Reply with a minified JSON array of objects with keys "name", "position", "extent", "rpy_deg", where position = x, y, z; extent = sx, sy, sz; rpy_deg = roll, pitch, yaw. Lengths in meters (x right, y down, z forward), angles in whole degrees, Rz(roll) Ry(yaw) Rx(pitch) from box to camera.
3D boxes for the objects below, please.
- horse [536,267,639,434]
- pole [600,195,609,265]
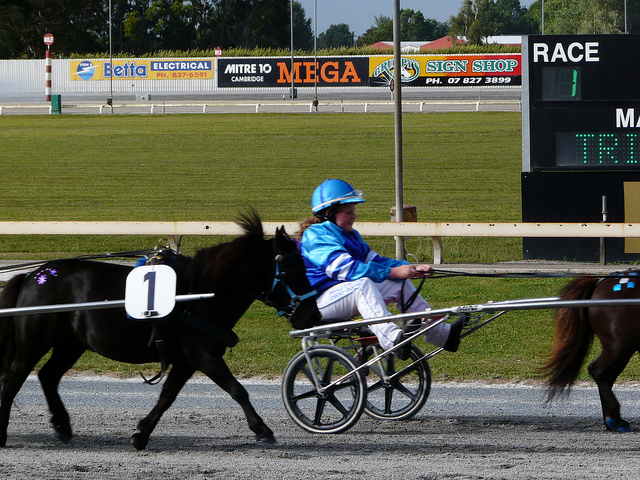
[{"name":"horse","position":[4.739,1.885,28.168],"extent":[1.670,2.686,0.881],"rpy_deg":[2,10,26]},{"name":"pole","position":[5.807,-0.210,33.508],"extent":[0.200,1.368,0.571],"rpy_deg":[-1,9,10]}]
